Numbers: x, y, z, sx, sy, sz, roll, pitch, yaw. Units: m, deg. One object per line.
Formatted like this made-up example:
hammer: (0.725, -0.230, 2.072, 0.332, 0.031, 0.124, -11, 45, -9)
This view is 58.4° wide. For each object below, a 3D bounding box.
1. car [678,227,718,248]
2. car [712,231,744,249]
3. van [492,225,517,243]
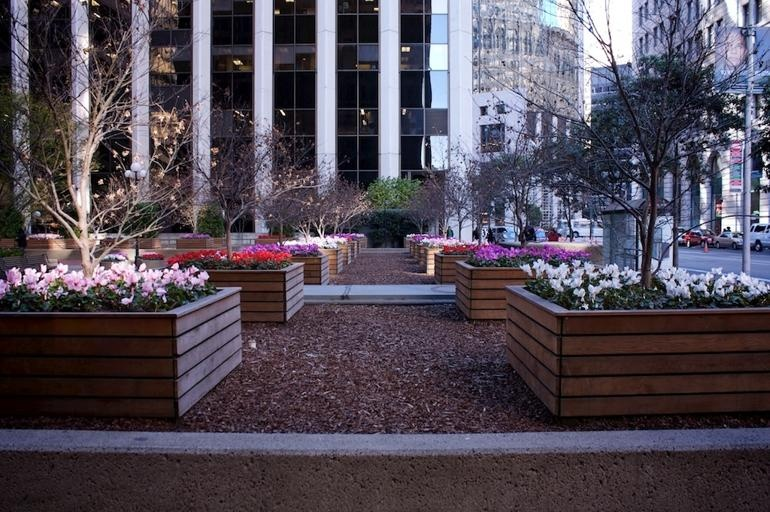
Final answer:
car: (17.286, -0.965, 37.967, 2.264, 1.152, 1.427, -3, 2, 17)
car: (21.103, -0.981, 42.132, 1.197, 0.902, 2.664, 0, -3, -3)
van: (7.451, -1.370, 43.329, 1.318, 1.069, 2.137, 1, 12, 1)
